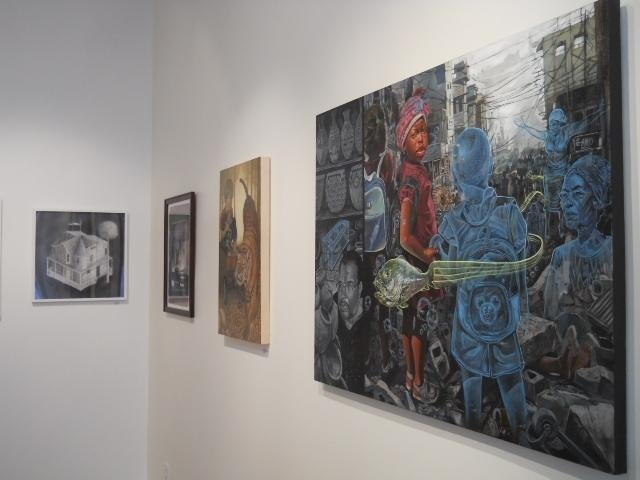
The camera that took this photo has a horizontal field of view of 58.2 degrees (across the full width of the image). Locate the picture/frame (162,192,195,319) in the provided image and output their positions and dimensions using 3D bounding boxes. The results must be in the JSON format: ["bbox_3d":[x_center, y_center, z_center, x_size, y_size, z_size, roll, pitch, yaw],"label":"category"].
[{"bbox_3d":[-0.835,0.096,3.424,0.029,0.915,0.692,0,1,-25],"label":"picture/frame"}]
